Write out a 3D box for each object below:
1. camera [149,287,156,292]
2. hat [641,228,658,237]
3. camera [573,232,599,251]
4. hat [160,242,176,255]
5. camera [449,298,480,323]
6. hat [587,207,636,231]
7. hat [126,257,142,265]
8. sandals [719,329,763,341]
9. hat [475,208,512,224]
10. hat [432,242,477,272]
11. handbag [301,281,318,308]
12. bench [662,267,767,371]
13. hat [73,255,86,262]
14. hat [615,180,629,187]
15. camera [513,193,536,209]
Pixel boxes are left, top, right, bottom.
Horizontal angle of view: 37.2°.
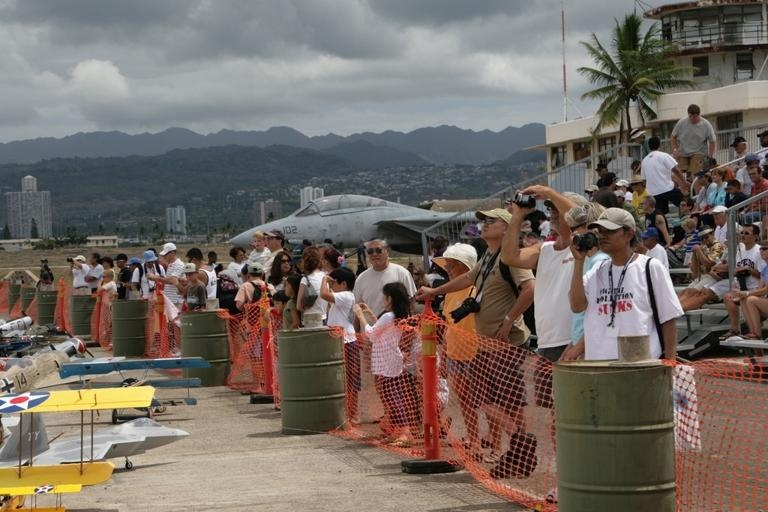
[{"bbox_3d":[-5.378,0.769,26.227,0.131,0.087,0.232,1,1,1],"label":"camera"},{"bbox_3d":[4.962,-0.427,21.214,0.257,0.132,0.191,3,7,36],"label":"hat"},{"bbox_3d":[2.786,-0.209,15.716,0.289,0.166,0.275,2,7,28],"label":"camera"},{"bbox_3d":[-4.813,-0.137,25.089,0.432,0.217,0.289,2,6,-17],"label":"hat"},{"bbox_3d":[1.201,0.789,16.850,0.461,0.275,0.180,-37,2,-3],"label":"camera"},{"bbox_3d":[3.144,-0.473,15.556,0.480,0.213,0.322,7,-3,-18],"label":"hat"},{"bbox_3d":[-5.928,0.125,26.742,0.259,0.111,0.355,-3,5,-35],"label":"hat"},{"bbox_3d":[6.445,1.430,20.546,0.641,0.212,0.223,-3,1,5],"label":"sandals"},{"bbox_3d":[1.670,-0.610,17.099,0.414,0.134,0.250,5,-1,-13],"label":"hat"},{"bbox_3d":[1.189,0.047,17.612,0.520,0.263,0.450,27,-23,-32],"label":"hat"},{"bbox_3d":[-1.294,0.640,19.282,0.194,0.357,0.318,5,-32,-28],"label":"handbag"},{"bbox_3d":[6.197,1.136,21.176,1.702,0.602,1.641,-13,12,-29],"label":"bench"},{"bbox_3d":[-9.901,0.077,36.764,0.350,0.235,0.479,8,3,10],"label":"hat"},{"bbox_3d":[5.716,-1.729,27.278,0.249,0.131,0.381,2,0,26],"label":"hat"},{"bbox_3d":[2.030,-0.794,16.376,0.411,0.243,0.156,-4,3,-40],"label":"camera"}]
